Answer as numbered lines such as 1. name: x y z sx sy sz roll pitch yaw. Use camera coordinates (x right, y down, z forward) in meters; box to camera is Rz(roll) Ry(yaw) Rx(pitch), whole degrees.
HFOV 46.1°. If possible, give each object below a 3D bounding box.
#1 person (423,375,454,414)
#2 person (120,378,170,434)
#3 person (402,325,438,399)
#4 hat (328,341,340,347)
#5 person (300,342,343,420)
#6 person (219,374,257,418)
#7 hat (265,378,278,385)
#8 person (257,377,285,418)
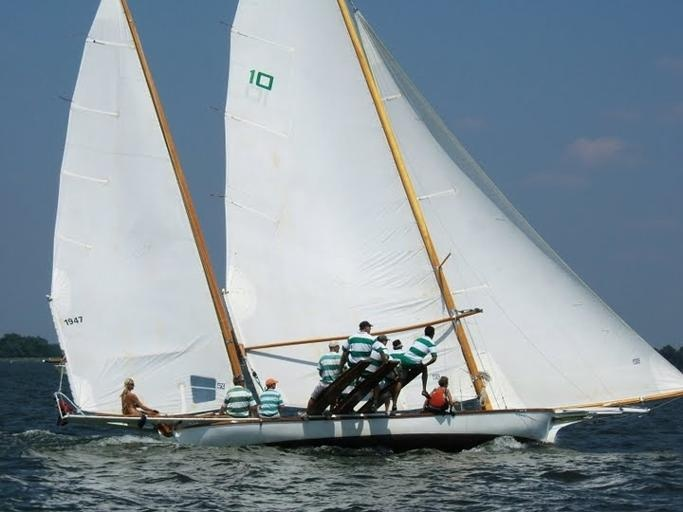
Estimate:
1. person: 2.177 3.067 17.729 0.780 0.819 0.542 5 -13 23
2. person: -4.519 3.451 18.343 0.926 1.413 1.538 4 -15 -33
3. person: 1.732 2.335 17.614 0.882 1.647 0.779 13 -9 -16
4. hat: -0.131 2.054 18.837 0.262 0.127 0.318 1 7 -3
5. person: -0.340 2.681 17.678 0.843 1.534 1.707 -4 -13 -4
6. person: -2.180 3.138 17.944 0.730 0.964 0.639 -1 -13 -16
7. hat: -1.479 2.825 18.028 0.349 0.161 0.249 -2 -1 -16
8. person: -1.589 3.165 17.908 0.494 0.884 0.591 -6 -13 4
